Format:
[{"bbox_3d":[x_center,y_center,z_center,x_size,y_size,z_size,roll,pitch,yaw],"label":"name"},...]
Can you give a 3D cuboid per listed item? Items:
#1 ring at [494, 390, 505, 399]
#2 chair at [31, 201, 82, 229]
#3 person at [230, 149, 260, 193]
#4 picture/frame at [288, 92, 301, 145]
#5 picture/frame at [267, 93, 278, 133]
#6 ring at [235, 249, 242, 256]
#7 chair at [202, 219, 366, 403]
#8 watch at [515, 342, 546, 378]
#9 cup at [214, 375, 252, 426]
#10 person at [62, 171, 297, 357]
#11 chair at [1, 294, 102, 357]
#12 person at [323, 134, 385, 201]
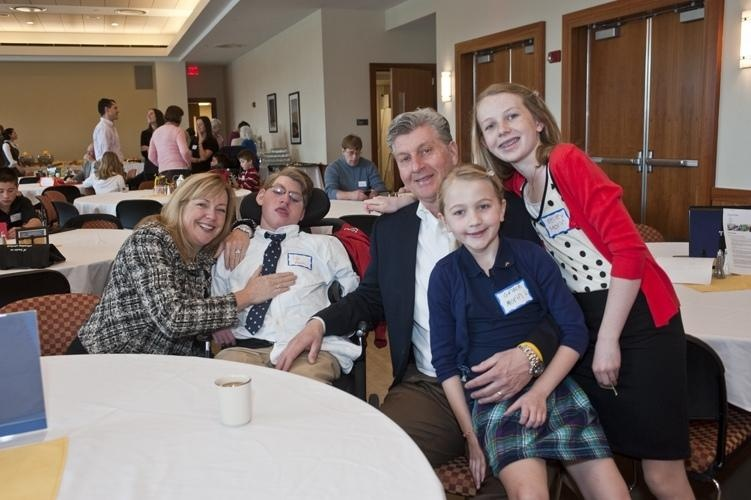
[{"bbox_3d":[0.433,0.515,1.761,0.021,0.030,0.010,4,-19,37],"label":"ring"},{"bbox_3d":[-3.437,-0.380,5.346,0.312,0.437,0.348,-5,11,1],"label":"chair"},{"bbox_3d":[-2.131,-1.298,8.243,0.439,0.752,0.540,-3,20,-28],"label":"person"},{"bbox_3d":[-1.727,-2.896,10.872,0.027,1.101,0.759,-6,11,-30],"label":"picture/frame"},{"bbox_3d":[-2.597,-3.493,12.413,0.042,1.251,1.033,-1,2,-24],"label":"picture/frame"},{"bbox_3d":[-0.701,0.012,2.510,0.028,0.039,0.016,1,43,-8],"label":"ring"},{"bbox_3d":[-0.287,0.324,2.688,0.727,1.062,0.840,-2,-7,6],"label":"chair"},{"bbox_3d":[0.563,0.387,1.806,0.042,0.092,0.117,-26,55,-9],"label":"watch"},{"bbox_3d":[-0.427,0.460,1.474,0.108,0.140,0.136,-2,-15,-25],"label":"cup"},{"bbox_3d":[-0.929,0.093,2.313,0.926,0.860,0.511,-9,15,-35],"label":"person"},{"bbox_3d":[-1.317,0.315,2.031,0.269,0.393,0.262,-2,-6,-24],"label":"chair"},{"bbox_3d":[-0.255,-1.005,6.169,0.733,0.823,0.990,-6,22,-12],"label":"person"}]
